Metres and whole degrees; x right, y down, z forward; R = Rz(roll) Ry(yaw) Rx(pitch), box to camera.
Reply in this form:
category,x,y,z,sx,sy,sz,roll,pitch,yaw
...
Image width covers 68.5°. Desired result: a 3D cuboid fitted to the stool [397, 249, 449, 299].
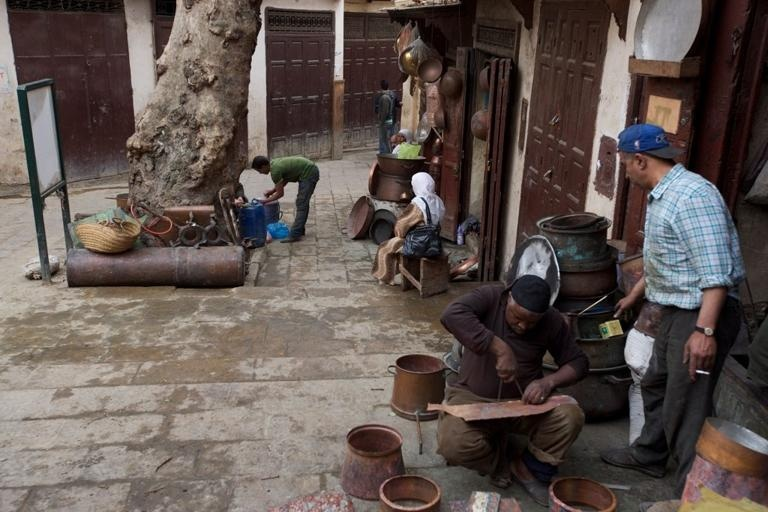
category,x,y,z,sx,sy,sz,roll,pitch,yaw
stool,0.601,0.247,8.044,0.718,0.527,0.714,9,12,30

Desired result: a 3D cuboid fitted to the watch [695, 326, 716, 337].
category,x,y,z,sx,sy,sz,roll,pitch,yaw
watch,2.270,0.530,3.990,0.117,0.069,0.059,7,17,21

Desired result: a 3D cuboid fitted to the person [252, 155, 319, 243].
category,x,y,z,sx,sy,sz,roll,pitch,yaw
person,-1.761,-1.088,10.739,0.850,1.505,0.776,4,16,11

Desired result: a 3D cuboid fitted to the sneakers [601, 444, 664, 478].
category,x,y,z,sx,sy,sz,roll,pitch,yaw
sneakers,2.004,1.649,4.644,0.497,0.233,0.186,12,10,28

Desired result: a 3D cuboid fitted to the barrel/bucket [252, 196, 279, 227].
category,x,y,z,sx,sy,sz,roll,pitch,yaw
barrel/bucket,-2.163,-0.835,10.724,0.368,0.384,0.379,3,24,-1

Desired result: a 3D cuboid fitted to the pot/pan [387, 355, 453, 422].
category,x,y,z,sx,sy,sz,roll,pitch,yaw
pot/pan,0.300,1.247,5.185,0.524,0.482,0.669,3,13,-1

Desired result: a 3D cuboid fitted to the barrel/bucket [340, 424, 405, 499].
category,x,y,z,sx,sy,sz,roll,pitch,yaw
barrel/bucket,-0.086,1.594,4.467,0.491,0.362,0.500,1,11,0

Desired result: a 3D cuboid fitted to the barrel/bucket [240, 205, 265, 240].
category,x,y,z,sx,sy,sz,roll,pitch,yaw
barrel/bucket,-2.254,-0.579,9.833,0.483,0.674,0.545,-1,7,-21

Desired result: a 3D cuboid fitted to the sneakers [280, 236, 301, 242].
category,x,y,z,sx,sy,sz,roll,pitch,yaw
sneakers,-1.748,-0.297,10.602,0.370,0.152,0.128,1,3,-5

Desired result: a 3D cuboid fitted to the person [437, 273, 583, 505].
category,x,y,z,sx,sy,sz,roll,pitch,yaw
person,0.990,0.980,4.394,1.122,1.719,0.803,4,16,13

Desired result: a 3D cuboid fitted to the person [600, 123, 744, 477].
category,x,y,z,sx,sy,sz,roll,pitch,yaw
person,2.207,0.400,4.353,0.873,2.718,0.627,15,21,41

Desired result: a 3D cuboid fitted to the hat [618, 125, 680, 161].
category,x,y,z,sx,sy,sz,roll,pitch,yaw
hat,2.018,-0.883,4.340,0.405,0.207,0.284,5,20,14

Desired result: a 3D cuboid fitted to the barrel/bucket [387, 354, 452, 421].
category,x,y,z,sx,sy,sz,roll,pitch,yaw
barrel/bucket,0.319,1.230,5.289,0.573,0.470,0.580,3,11,-1
